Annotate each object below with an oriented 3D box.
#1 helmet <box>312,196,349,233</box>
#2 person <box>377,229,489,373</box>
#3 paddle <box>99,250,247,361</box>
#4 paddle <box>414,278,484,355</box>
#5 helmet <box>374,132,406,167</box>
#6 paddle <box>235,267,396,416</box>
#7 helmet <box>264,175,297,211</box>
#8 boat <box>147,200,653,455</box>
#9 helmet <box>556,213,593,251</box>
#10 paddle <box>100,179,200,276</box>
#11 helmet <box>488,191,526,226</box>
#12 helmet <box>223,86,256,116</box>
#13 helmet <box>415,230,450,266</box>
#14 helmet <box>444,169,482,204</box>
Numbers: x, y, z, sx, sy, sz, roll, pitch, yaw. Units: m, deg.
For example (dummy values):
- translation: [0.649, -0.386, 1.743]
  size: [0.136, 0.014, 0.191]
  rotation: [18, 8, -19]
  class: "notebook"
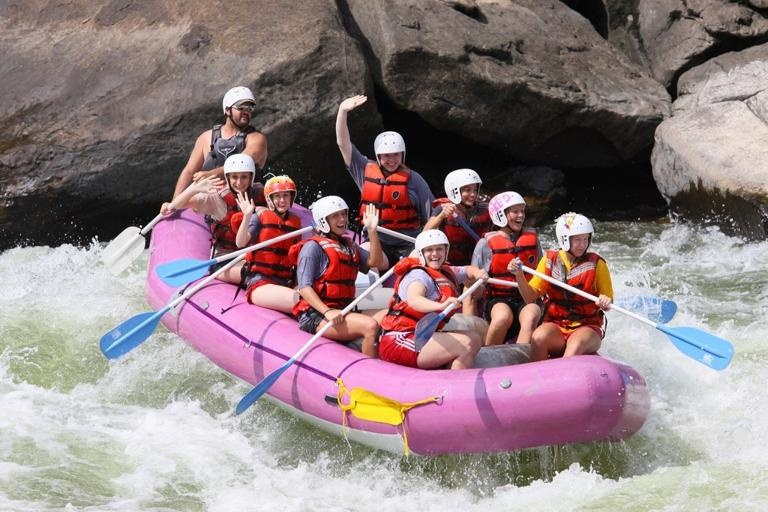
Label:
- translation: [-0.580, -0.441, 9.101]
  size: [0.387, 0.321, 0.303]
  rotation: [-9, 5, 30]
  class: "helmet"
- translation: [0.521, 0.507, 8.822]
  size: [0.878, 1.311, 1.095]
  rotation: [-20, -4, 22]
  class: "person"
- translation: [-2.296, 0.585, 9.705]
  size: [2.049, 0.355, 0.096]
  rotation: [-36, 7, -14]
  class: "paddle"
- translation: [0.615, 0.618, 8.615]
  size: [0.209, 0.861, 0.059]
  rotation: [42, -5, 8]
  class: "paddle"
- translation: [0.068, -1.251, 9.962]
  size: [0.266, 0.351, 0.357]
  rotation: [-3, 4, -2]
  class: "helmet"
- translation: [-0.722, 0.939, 8.901]
  size: [0.227, 2.253, 0.129]
  rotation: [49, 1, 4]
  class: "paddle"
- translation: [-1.150, -0.713, 9.605]
  size: [0.263, 0.291, 0.353]
  rotation: [2, -4, -18]
  class: "helmet"
- translation: [-0.194, 1.152, 8.809]
  size: [3.765, 0.821, 2.349]
  rotation: [20, 34, 31]
  class: "boat"
- translation: [1.948, -0.271, 9.018]
  size: [0.400, 0.380, 0.313]
  rotation: [19, 16, 32]
  class: "helmet"
- translation: [-2.884, -0.357, 10.801]
  size: [0.367, 1.494, 0.080]
  rotation: [43, -20, 14]
  class: "paddle"
- translation: [1.292, -0.476, 9.308]
  size: [0.388, 0.341, 0.295]
  rotation: [-12, -9, 21]
  class: "helmet"
- translation: [-1.778, -1.884, 10.581]
  size: [0.422, 0.291, 0.330]
  rotation: [3, -1, 41]
  class: "helmet"
- translation: [0.464, -0.089, 8.719]
  size: [0.263, 0.284, 0.347]
  rotation: [-5, -3, -15]
  class: "helmet"
- translation: [0.868, -0.784, 9.820]
  size: [0.402, 0.340, 0.319]
  rotation: [-3, 0, 24]
  class: "helmet"
